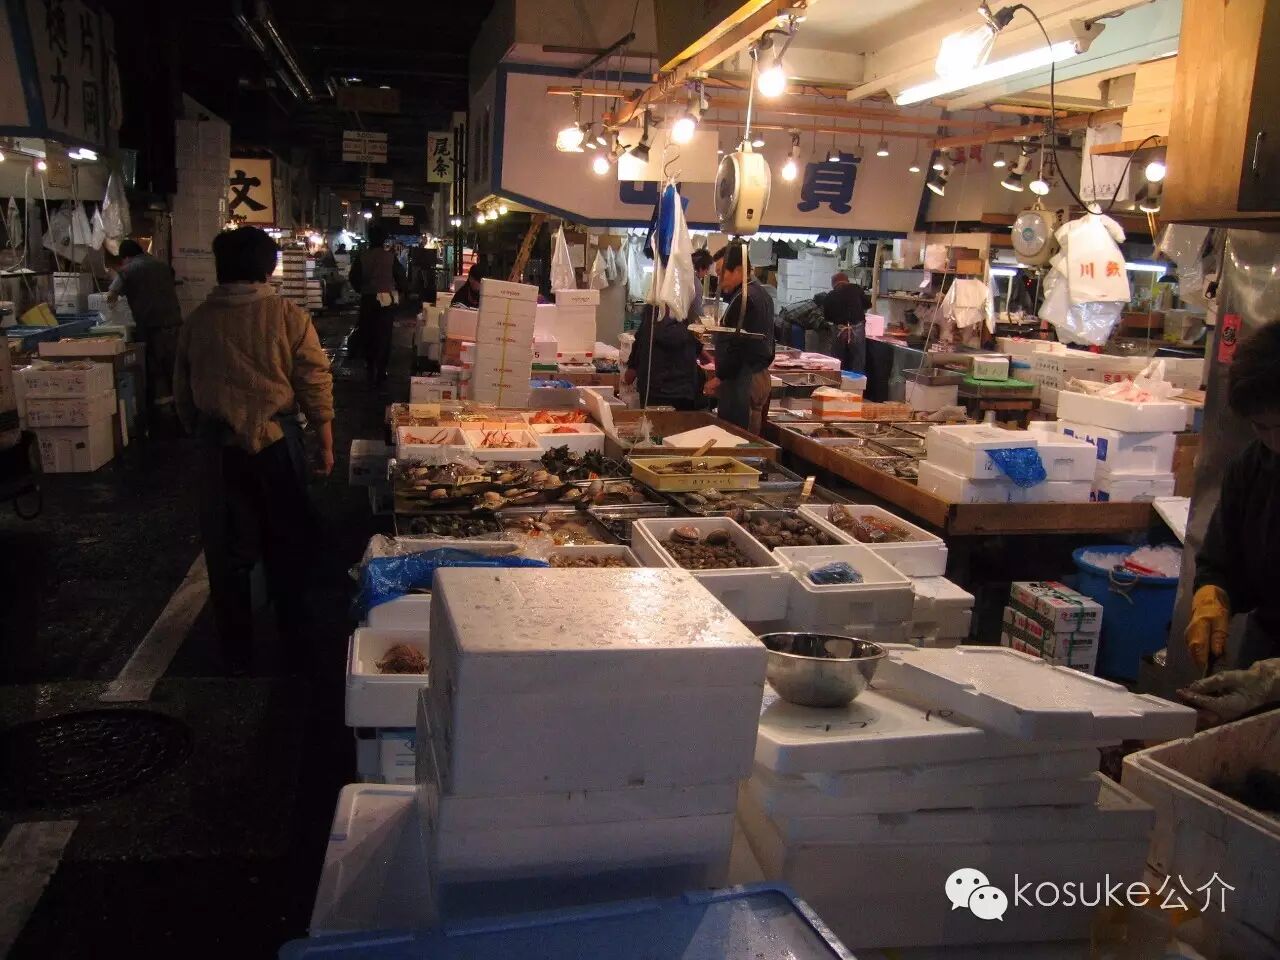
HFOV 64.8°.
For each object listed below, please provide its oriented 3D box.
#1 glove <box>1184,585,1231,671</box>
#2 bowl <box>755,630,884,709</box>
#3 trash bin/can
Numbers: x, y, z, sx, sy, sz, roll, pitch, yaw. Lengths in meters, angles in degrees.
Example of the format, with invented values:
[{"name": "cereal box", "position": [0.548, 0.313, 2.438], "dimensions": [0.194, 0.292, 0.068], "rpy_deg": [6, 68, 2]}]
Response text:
[{"name": "glove", "position": [1.912, 0.517, 3.401], "dimensions": [0.159, 0.286, 0.078], "rpy_deg": [-4, -26, 24]}, {"name": "bowl", "position": [0.467, 0.515, 2.713], "dimensions": [0.325, 0.145, 0.328], "rpy_deg": [3, 4, 0]}, {"name": "trash bin/can", "position": [2.402, 0.651, 5.211], "dimensions": [0.607, 0.543, 0.627], "rpy_deg": [1, 4, -1]}]
